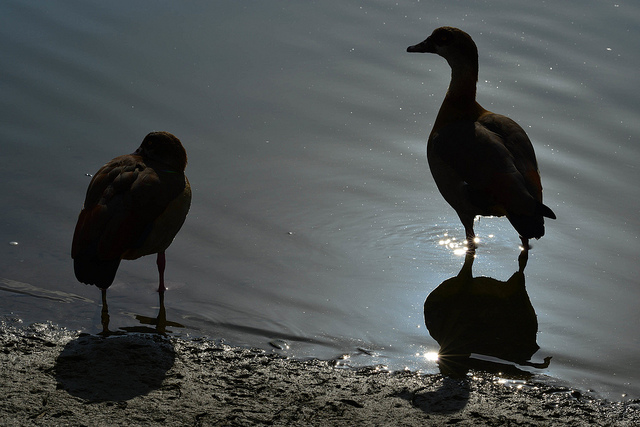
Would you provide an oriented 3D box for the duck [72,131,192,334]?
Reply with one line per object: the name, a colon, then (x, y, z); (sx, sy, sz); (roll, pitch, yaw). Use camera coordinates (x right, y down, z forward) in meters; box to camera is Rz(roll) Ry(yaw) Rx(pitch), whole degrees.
duck: (-1.946, 0.186, 9.304); (1.063, 2.106, 1.126); (18, 1, 9)
